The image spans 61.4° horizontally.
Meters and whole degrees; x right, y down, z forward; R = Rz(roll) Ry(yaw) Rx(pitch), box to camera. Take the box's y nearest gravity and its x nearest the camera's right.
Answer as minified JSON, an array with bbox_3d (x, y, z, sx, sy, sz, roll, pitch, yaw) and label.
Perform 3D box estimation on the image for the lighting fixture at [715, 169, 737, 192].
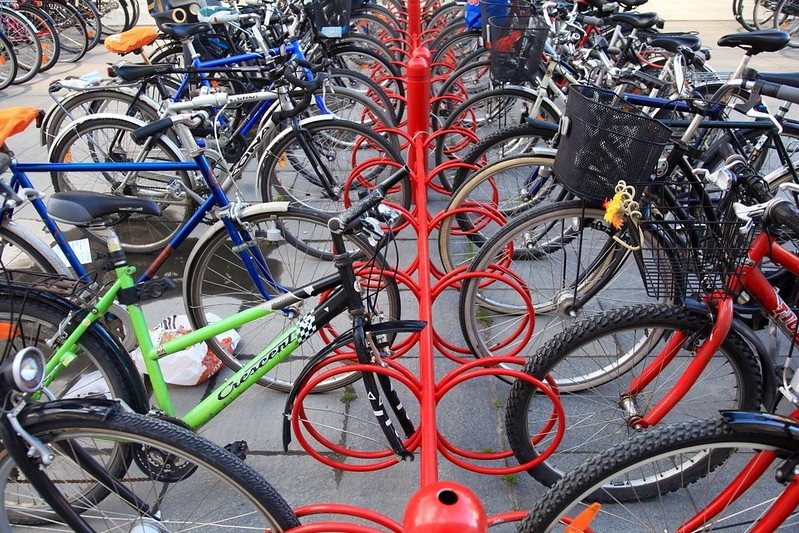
[{"bbox_3d":[1.728,-0.455,3.565,0.056,0.093,0.097,-2,32,-8],"label":"lighting fixture"}]
